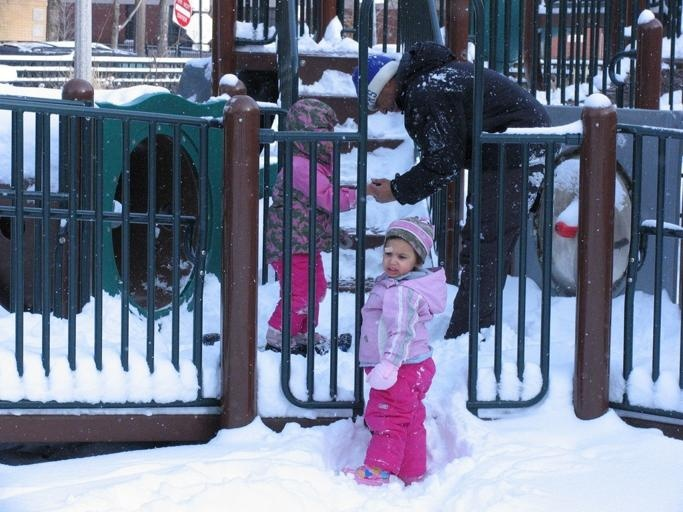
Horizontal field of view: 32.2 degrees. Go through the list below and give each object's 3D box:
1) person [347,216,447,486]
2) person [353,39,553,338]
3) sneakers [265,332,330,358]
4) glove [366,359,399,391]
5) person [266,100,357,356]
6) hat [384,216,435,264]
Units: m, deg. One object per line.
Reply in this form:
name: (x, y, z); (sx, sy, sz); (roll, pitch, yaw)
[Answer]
person: (0.300, 0.498, 6.335); (0.560, 1.393, 0.372); (-2, 3, -8)
person: (0.727, -0.459, 7.318); (1.092, 1.889, 0.803); (-3, 24, 13)
sneakers: (-0.270, 0.519, 7.081); (0.242, 0.111, 0.187); (4, 5, 2)
glove: (0.215, 0.624, 6.226); (0.156, 0.168, 0.084); (1, 4, 34)
person: (-0.193, -0.185, 7.027); (0.547, 1.515, 0.826); (-2, 4, -7)
hat: (0.367, -0.032, 6.392); (0.189, 0.263, 0.238); (-20, 13, -13)
